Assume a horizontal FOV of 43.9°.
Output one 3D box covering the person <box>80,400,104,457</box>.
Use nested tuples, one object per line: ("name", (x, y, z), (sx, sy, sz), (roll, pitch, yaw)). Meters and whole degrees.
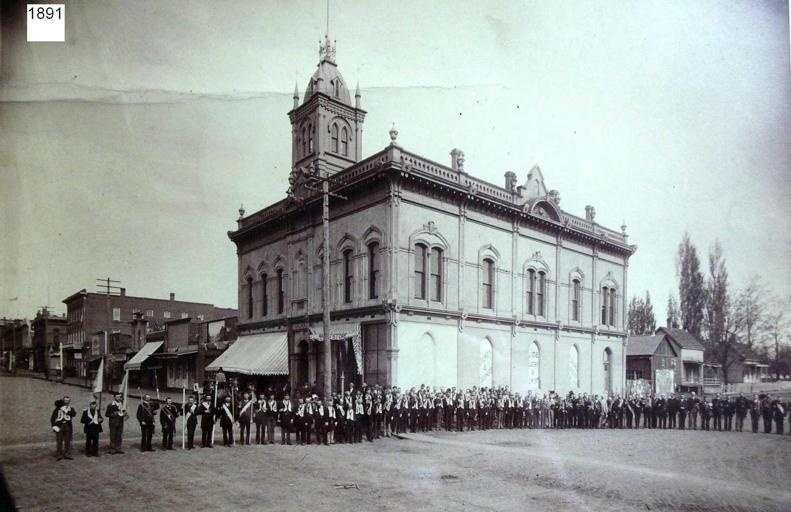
("person", (-12.495, 7.060, 40.416), (0.855, 2.262, 1.350), (5, -13, -17))

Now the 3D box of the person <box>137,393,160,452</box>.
("person", (-10.569, 7.113, 41.776), (0.818, 2.346, 1.275), (4, -13, -15))

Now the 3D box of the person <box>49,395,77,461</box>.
("person", (-13.385, 6.960, 39.851), (0.770, 2.511, 1.584), (0, -13, 4))

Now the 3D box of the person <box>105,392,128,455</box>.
("person", (-11.742, 7.021, 41.364), (0.805, 2.565, 1.294), (4, -13, -13))
